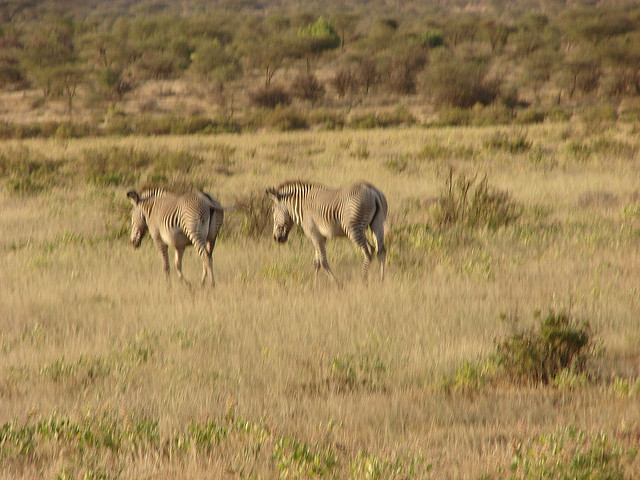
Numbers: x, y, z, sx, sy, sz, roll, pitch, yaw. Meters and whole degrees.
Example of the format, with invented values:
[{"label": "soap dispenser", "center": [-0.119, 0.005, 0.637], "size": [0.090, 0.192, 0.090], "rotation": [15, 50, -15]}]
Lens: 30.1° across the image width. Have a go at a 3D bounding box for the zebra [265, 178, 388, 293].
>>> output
[{"label": "zebra", "center": [0.222, -0.281, 45.019], "size": [4.173, 4.986, 1.524], "rotation": [-5, 16, 16]}]
